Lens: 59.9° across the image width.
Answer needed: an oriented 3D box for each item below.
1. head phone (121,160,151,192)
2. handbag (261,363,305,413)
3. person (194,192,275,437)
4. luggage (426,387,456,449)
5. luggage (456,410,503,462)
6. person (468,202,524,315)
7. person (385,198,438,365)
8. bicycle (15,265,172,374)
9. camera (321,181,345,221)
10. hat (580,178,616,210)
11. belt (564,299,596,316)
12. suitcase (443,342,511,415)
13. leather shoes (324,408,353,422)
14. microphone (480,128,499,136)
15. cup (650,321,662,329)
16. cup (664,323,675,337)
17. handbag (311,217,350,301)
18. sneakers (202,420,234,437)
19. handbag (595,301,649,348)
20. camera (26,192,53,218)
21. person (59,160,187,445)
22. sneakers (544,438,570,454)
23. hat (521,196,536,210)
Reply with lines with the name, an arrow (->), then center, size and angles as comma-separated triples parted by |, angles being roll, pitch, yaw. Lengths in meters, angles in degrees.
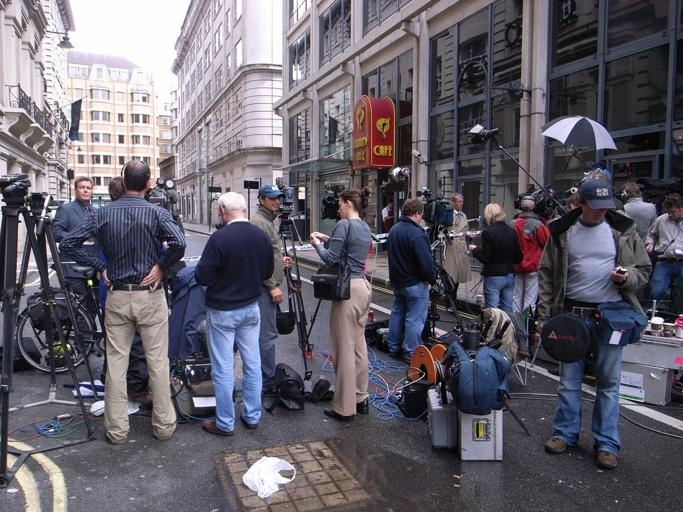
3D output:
head phone -> -2.080, -0.833, 6.095 | 0.250, 0.369, 0.328 | 2, 8, -15
handbag -> -0.651, 1.501, 6.756 | 0.435, 0.475, 0.462 | -13, 27, -17
person -> -1.173, 0.539, 6.297 | 0.789, 2.486, 0.760 | -5, 12, -36
luggage -> 0.988, 1.607, 5.842 | 0.207, 0.403, 0.623 | 0, 0, 0
luggage -> 1.327, 1.692, 5.747 | 0.348, 0.530, 0.700 | -1, -1, 1
person -> 2.215, 0.051, 8.492 | 0.709, 1.539, 0.702 | 4, 12, 16
person -> 0.926, 0.348, 8.072 | 0.412, 2.215, 0.742 | -11, 16, -43
bicycle -> -3.105, 0.833, 7.806 | 2.127, 1.571, 1.106 | -1, 1, -10
camera -> -0.104, -0.690, 6.831 | 0.256, 0.491, 0.177 | 0, -9, 17
hat -> 2.396, -0.572, 5.572 | 0.219, 0.188, 0.342 | -2, 27, 2
belt -> 2.323, 0.505, 5.778 | 0.183, 0.074, 0.138 | 8, -4, 40
suitcase -> 1.281, 1.116, 5.639 | 0.548, 0.612, 0.593 | 0, -1, 5
leather shoes -> -0.028, 1.728, 6.432 | 0.112, 0.147, 0.334 | -5, 12, -39
microphone -> 2.429, -2.021, 9.628 | 0.259, 0.125, 0.433 | 7, 14, 29
cup -> 3.576, 0.786, 6.737 | 0.080, 0.090, 0.087 | 0, 3, 0
cup -> 3.693, 0.831, 6.688 | 0.117, 0.143, 0.127 | 2, -1, 0
handbag -> -0.108, 0.076, 6.330 | 0.410, 0.776, 0.344 | 0, 11, 1
sneakers -> -1.280, 1.779, 6.150 | 0.322, 0.147, 0.135 | 11, 7, 37
handbag -> 2.572, 0.620, 5.608 | 0.499, 0.554, 0.342 | 2, -5, -13
camera -> -3.102, -0.554, 6.132 | 0.236, 0.270, 0.263 | 1, 7, -6
person -> -2.203, 0.434, 6.013 | 1.112, 2.798, 0.731 | 0, 7, -14
sneakers -> 2.111, 1.827, 5.764 | 0.292, 0.116, 0.139 | -9, 15, -37
hat -> 2.898, -0.850, 9.213 | 0.155, 0.224, 0.220 | 1, 18, 12
